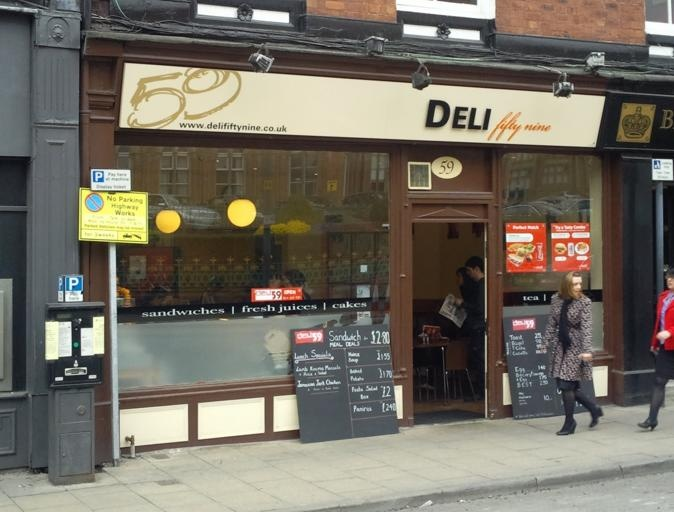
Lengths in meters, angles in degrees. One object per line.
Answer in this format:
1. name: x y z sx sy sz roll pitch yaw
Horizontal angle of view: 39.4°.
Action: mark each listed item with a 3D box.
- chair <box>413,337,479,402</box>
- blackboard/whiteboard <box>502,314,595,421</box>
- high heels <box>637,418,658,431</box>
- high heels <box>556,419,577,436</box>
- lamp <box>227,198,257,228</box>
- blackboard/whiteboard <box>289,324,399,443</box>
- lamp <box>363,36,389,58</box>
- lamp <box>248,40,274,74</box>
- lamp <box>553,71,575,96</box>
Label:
1. chair: 1.640 1.664 14.047 0.662 0.830 0.639 21 1 42
2. blackboard/whiteboard: 2.817 1.529 12.739 1.461 1.625 0.076 -4 0 -26
3. high heels: 4.059 2.211 12.341 0.232 0.159 0.126 6 -8 -13
4. high heels: 2.991 2.235 12.207 0.351 0.165 0.121 3 -9 -43
5. lamp: -1.213 -0.552 12.024 0.347 0.346 0.079 -4 9 -25
6. blackboard/whiteboard: 0.033 1.701 12.247 1.489 1.497 0.066 1 -13 -25
7. lamp: 0.485 -2.660 12.000 0.316 0.217 0.229 1 -7 -15
8. lamp: -0.915 -2.428 11.474 0.303 0.349 0.398 0 9 -3
9. lamp: 3.008 -2.310 12.652 0.241 0.380 0.363 2 10 0
